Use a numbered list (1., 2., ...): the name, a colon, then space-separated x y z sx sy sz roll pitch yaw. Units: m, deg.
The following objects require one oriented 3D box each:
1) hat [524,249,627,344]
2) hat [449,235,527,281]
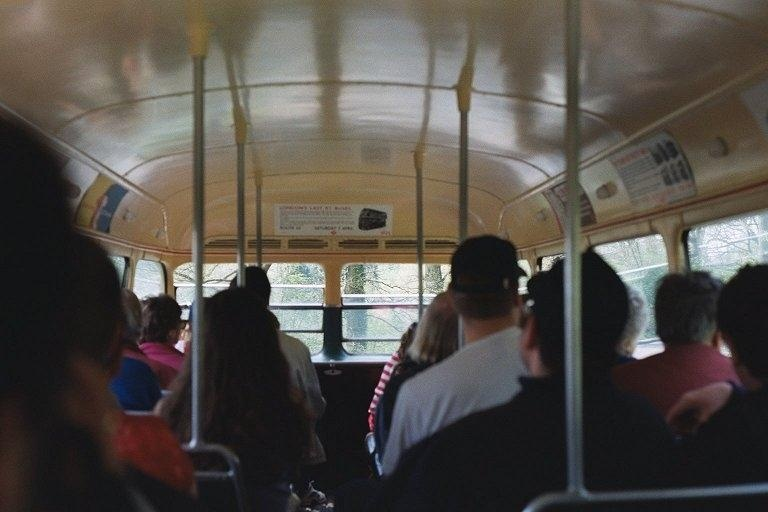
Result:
1. hat: 0.946 0.196 2.716 0.482 0.443 0.116 -7 -3 -14
2. hat: 0.515 0.009 2.861 0.301 0.160 0.214 1 0 -40
